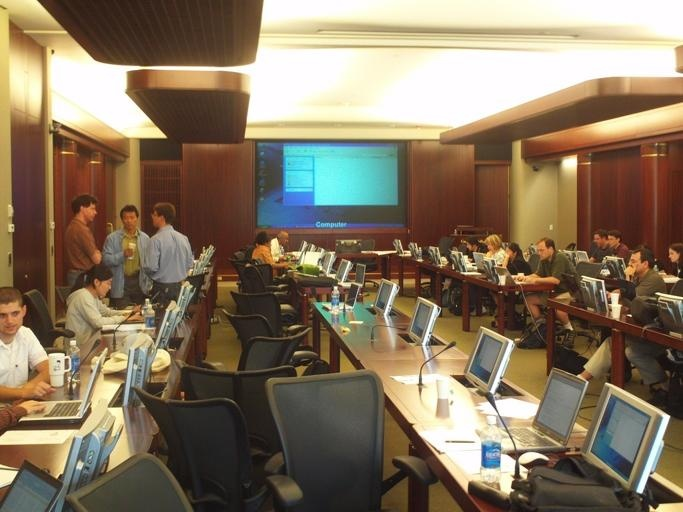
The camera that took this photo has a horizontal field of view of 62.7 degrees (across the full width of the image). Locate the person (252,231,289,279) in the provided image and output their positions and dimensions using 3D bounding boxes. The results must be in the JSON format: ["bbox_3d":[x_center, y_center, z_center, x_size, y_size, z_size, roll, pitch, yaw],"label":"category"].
[{"bbox_3d":[-1.218,0.003,9.786,0.577,1.031,0.538,-17,26,-30],"label":"person"}]

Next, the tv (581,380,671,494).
[{"bbox_3d":[1.115,0.734,2.346,0.398,0.337,0.132,30,-9,-26],"label":"tv"}]

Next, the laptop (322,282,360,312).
[{"bbox_3d":[0.022,0.445,5.931,0.288,0.214,0.341,0,0,-10],"label":"laptop"}]

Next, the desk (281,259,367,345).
[{"bbox_3d":[-0.455,0.631,7.242,1.374,0.797,0.618,4,9,21],"label":"desk"}]

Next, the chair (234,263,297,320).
[{"bbox_3d":[-1.107,0.502,7.315,0.631,0.795,0.567,4,4,-29],"label":"chair"}]

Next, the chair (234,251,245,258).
[{"bbox_3d":[-2.115,-0.026,11.719,0.167,0.214,0.187,0,-2,-12],"label":"chair"}]

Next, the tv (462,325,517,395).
[{"bbox_3d":[0.875,0.617,3.318,0.056,0.336,0.447,19,-2,-5],"label":"tv"}]

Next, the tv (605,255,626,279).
[{"bbox_3d":[4.033,0.175,8.183,0.089,0.357,0.347,-15,0,2],"label":"tv"}]

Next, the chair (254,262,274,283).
[{"bbox_3d":[-1.074,0.255,8.180,0.221,0.344,0.258,6,13,22],"label":"chair"}]

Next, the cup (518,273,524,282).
[{"bbox_3d":[2.393,0.287,7.412,0.088,0.114,0.118,-1,-2,-11],"label":"cup"}]

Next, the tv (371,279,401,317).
[{"bbox_3d":[0.546,0.514,6.708,0.090,0.489,0.654,26,2,-13],"label":"tv"}]

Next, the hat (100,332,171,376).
[{"bbox_3d":[-1.305,0.577,3.557,0.326,0.123,0.340,0,2,1],"label":"hat"}]

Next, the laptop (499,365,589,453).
[{"bbox_3d":[0.951,0.756,2.685,0.357,0.312,0.416,-2,-1,-7],"label":"laptop"}]

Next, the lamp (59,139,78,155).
[{"bbox_3d":[-4.850,-1.939,9.956,0.216,0.256,0.218,-1,10,-22],"label":"lamp"}]

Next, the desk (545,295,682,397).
[{"bbox_3d":[2.393,0.915,4.823,0.615,0.514,1.045,0,5,-10],"label":"desk"}]

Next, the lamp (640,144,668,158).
[{"bbox_3d":[6.368,-2.145,11.395,0.456,0.292,0.220,5,6,32],"label":"lamp"}]

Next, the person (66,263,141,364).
[{"bbox_3d":[-2.097,0.653,4.901,0.619,1.125,0.455,3,5,-15],"label":"person"}]

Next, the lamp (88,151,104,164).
[{"bbox_3d":[-5.043,-2.024,11.556,0.208,0.196,0.210,-1,12,-24],"label":"lamp"}]

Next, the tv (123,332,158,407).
[{"bbox_3d":[-1.094,0.637,3.096,0.123,0.339,0.355,8,3,-9],"label":"tv"}]

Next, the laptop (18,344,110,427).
[{"bbox_3d":[-1.467,0.705,2.996,0.435,0.302,0.482,0,-5,-15],"label":"laptop"}]

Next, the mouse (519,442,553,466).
[{"bbox_3d":[0.865,0.886,2.498,0.109,0.037,0.063,-3,4,-30],"label":"mouse"}]

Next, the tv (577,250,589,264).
[{"bbox_3d":[4.231,0.024,9.847,0.188,0.293,0.071,5,-39,2],"label":"tv"}]

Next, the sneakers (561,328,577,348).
[{"bbox_3d":[2.797,1.034,7.000,0.183,0.243,0.564,-3,-4,17],"label":"sneakers"}]

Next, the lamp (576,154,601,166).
[{"bbox_3d":[6.128,-2.379,13.927,0.566,0.343,0.242,6,7,40],"label":"lamp"}]

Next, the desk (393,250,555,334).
[{"bbox_3d":[2.118,0.692,9.291,2.590,0.553,0.665,17,1,16],"label":"desk"}]

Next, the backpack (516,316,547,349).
[{"bbox_3d":[2.423,0.997,7.074,0.422,0.423,0.281,8,-11,-40],"label":"backpack"}]
